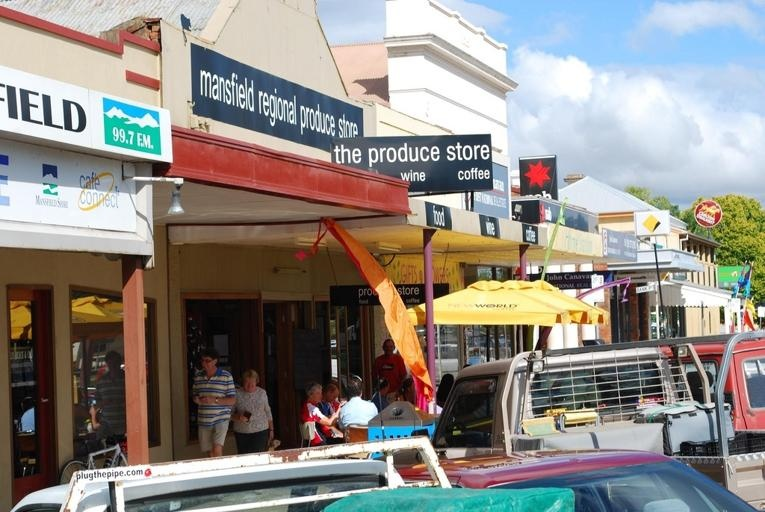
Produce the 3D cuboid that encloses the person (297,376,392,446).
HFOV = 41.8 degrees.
[{"bbox_3d":[-0.572,2.368,15.206,1.237,1.370,0.768,-4,1,-8],"label":"person"}]

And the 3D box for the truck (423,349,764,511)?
[{"bbox_3d":[2.250,1.979,10.451,1.547,1.472,2.418,-3,2,-35],"label":"truck"}]

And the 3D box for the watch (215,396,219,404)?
[{"bbox_3d":[-2.491,2.167,15.119,0.061,0.093,0.026,3,-6,5],"label":"watch"}]

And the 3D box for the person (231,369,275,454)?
[{"bbox_3d":[-2.045,2.685,15.812,0.688,1.782,0.540,-2,16,-8],"label":"person"}]
